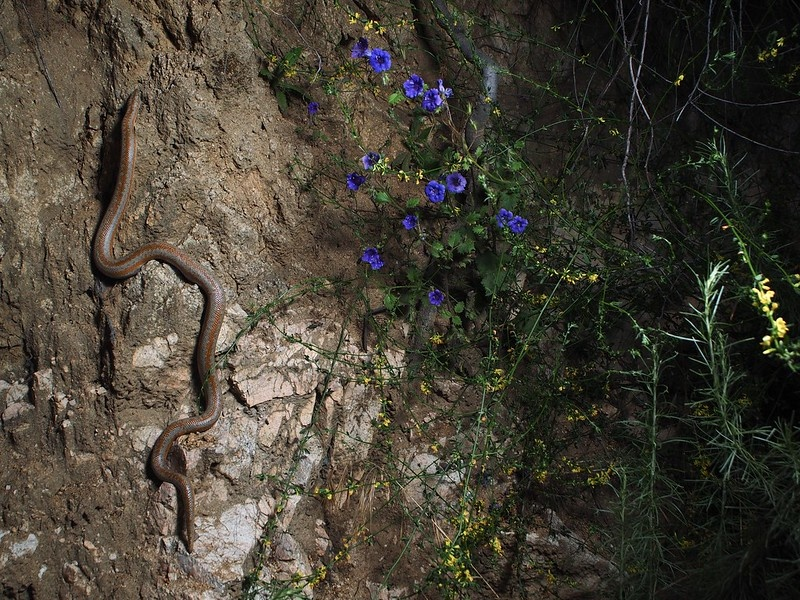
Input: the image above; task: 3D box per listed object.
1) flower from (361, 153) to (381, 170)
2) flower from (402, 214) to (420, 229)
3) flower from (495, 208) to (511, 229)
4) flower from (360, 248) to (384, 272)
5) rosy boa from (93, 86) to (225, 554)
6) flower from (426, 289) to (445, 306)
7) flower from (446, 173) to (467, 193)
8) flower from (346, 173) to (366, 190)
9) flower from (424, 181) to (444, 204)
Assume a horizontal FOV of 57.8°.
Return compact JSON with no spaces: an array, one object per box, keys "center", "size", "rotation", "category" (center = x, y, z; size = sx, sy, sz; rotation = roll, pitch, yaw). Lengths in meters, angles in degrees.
[{"center":[-0.197,-0.937,4.923],"size":[0.117,0.131,0.201],"rotation":[2,27,-3],"category":"flower"},{"center":[0.074,-0.563,5.201],"size":[0.090,0.120,0.119],"rotation":[1,26,-5],"category":"flower"},{"center":[0.709,-0.560,4.972],"size":[0.120,0.124,0.094],"rotation":[12,27,17],"category":"flower"},{"center":[-0.199,-0.302,5.327],"size":[0.140,0.179,0.075],"rotation":[-14,-2,-5],"category":"flower"},{"center":[-1.659,-0.007,4.977],"size":[0.836,3.458,0.228],"rotation":[3,6,8],"category":"rosy boa"},{"center":[0.265,-0.017,5.331],"size":[0.099,0.124,0.043],"rotation":[-1,-5,4],"category":"flower"},{"center":[0.378,-0.811,4.956],"size":[0.130,0.154,0.093],"rotation":[0,25,-7],"category":"flower"},{"center":[-0.314,-0.855,5.248],"size":[0.120,0.154,0.164],"rotation":[7,26,6],"category":"flower"},{"center":[0.248,-0.764,5.056],"size":[0.139,0.185,0.172],"rotation":[5,26,3],"category":"flower"}]
